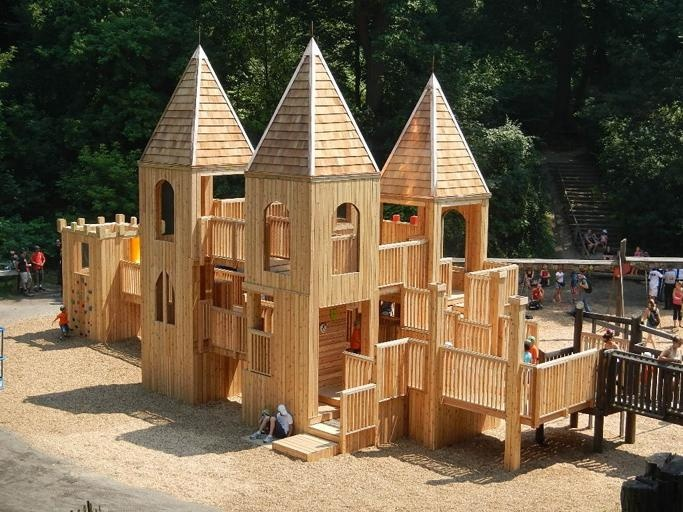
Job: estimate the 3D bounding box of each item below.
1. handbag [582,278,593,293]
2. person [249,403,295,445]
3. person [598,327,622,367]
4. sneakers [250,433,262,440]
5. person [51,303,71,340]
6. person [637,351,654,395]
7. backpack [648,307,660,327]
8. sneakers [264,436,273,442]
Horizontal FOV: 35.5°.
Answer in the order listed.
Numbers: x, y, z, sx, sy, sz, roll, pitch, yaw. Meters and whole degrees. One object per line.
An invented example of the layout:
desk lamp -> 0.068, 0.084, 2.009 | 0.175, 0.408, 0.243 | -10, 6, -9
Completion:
handbag -> 8.540, 1.062, 37.295 | 0.308, 0.554, 0.460 | -11, 19, -14
person -> -1.699, 4.155, 26.622 | 0.892, 0.780, 0.875 | 6, 15, 19
person -> 6.579, 2.286, 26.207 | 0.435, 1.385, 0.553 | -10, 36, 9
sneakers -> -2.140, 4.482, 26.568 | 0.281, 0.120, 0.234 | -2, 15, -12
person -> -8.969, 1.968, 34.117 | 0.489, 1.188, 1.686 | -3, 15, -15
person -> 7.229, 2.980, 25.419 | 0.198, 0.810, 0.349 | -2, 15, -10
backpack -> 9.652, 1.915, 33.078 | 0.349, 0.767, 0.787 | 5, 15, 16
sneakers -> -1.818, 4.541, 26.434 | 0.220, 0.126, 0.226 | 2, 15, 4
